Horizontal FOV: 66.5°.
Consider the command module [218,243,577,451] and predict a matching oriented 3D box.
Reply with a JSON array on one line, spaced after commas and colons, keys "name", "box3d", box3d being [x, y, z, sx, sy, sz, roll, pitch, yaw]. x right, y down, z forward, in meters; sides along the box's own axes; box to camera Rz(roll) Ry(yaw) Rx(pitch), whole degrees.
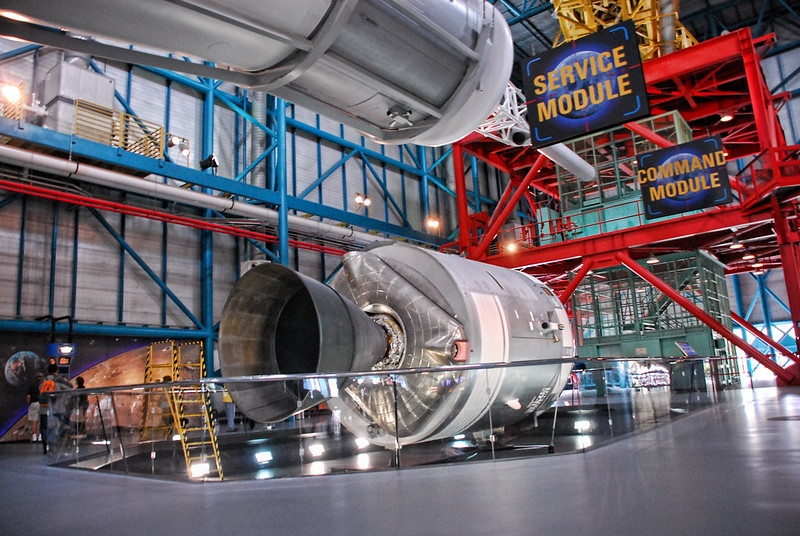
[{"name": "command module", "box3d": [0.298, 1.238, 9.760, 5.145, 2.167, 3.027, 8, -20, -44]}]

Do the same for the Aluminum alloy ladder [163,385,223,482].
[{"name": "Aluminum alloy ladder", "box3d": [-2.885, 2.282, 8.601, 0.990, 1.291, 0.391, -4, 0, 24]}]
